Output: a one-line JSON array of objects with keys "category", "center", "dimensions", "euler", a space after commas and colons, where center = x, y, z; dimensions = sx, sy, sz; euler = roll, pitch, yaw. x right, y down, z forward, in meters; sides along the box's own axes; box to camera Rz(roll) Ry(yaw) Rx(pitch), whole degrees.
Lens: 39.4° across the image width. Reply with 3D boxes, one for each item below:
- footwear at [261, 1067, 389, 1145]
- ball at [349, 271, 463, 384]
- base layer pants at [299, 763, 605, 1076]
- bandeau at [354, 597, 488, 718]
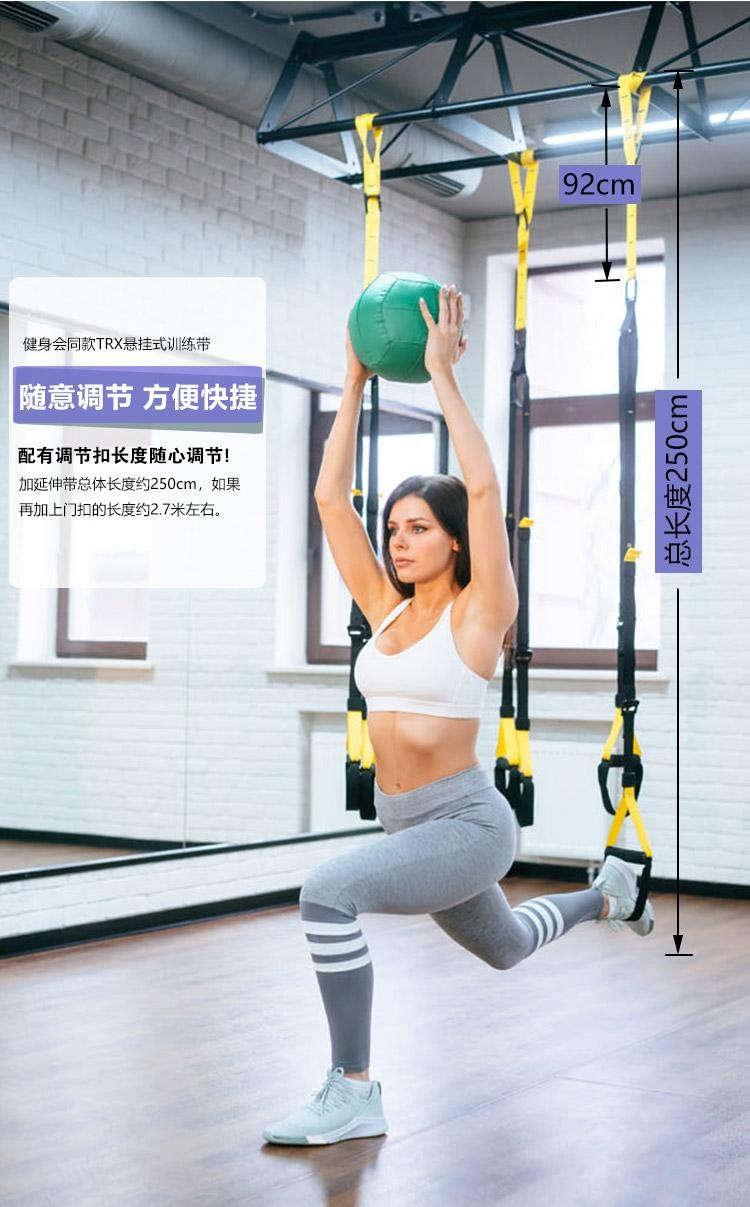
[{"category": "footwear", "center": [-0.124, 0.914, 1.915], "dimensions": [0.284, 0.143, 0.108], "euler": [3, -13, -18]}, {"category": "ball", "center": [0.077, -0.582, 2.075], "dimensions": [0.217, 0.146, 0.267], "euler": [-15, 29, 7]}, {"category": "base layer pants", "center": [0.194, 0.519, 1.947], "dimensions": [0.260, 0.443, 0.803], "euler": [-14, -6, 40]}, {"category": "bandeau", "center": [0.101, 0.111, 1.808], "dimensions": [0.194, 0.185, 0.113], "euler": [0, -16, -3]}]
